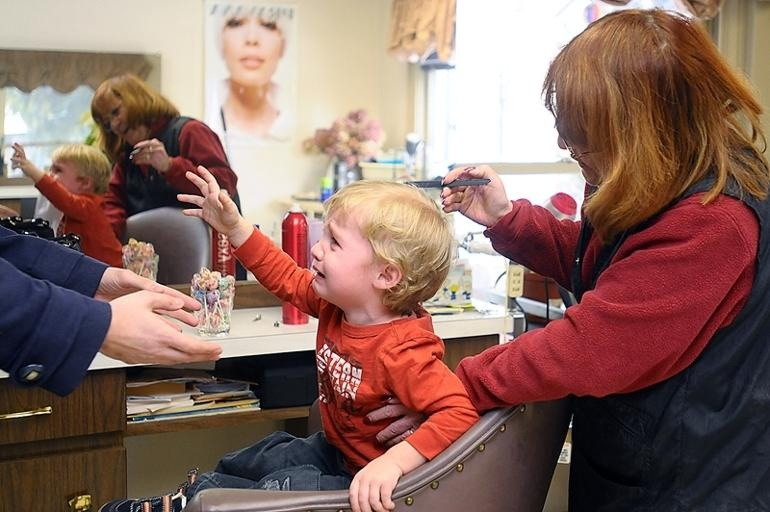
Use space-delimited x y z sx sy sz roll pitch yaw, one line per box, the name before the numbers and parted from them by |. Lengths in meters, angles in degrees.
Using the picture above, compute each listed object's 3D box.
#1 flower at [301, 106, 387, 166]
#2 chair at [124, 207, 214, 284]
flower | -0.193 -0.576 3.186 0.285 0.233 0.229 -5 -6 -3
chair | -0.730 -0.046 2.345 0.267 0.308 0.265 1 3 1
